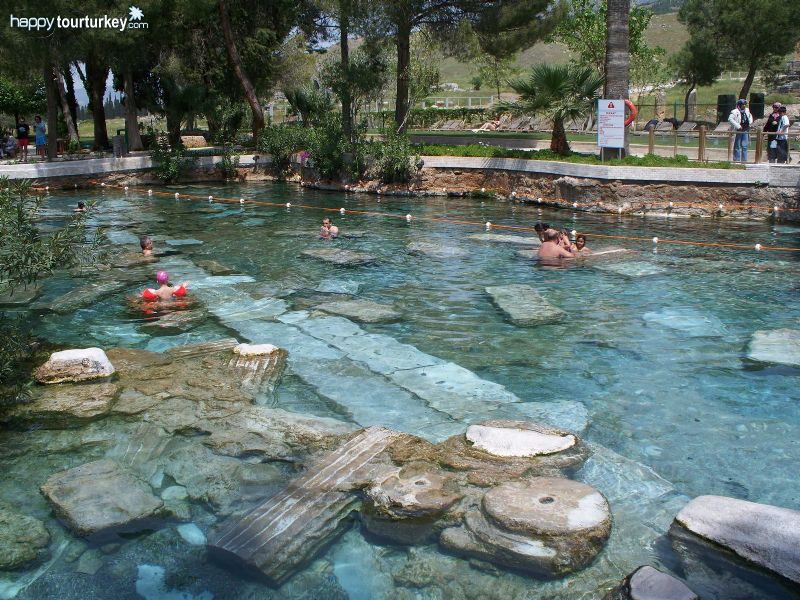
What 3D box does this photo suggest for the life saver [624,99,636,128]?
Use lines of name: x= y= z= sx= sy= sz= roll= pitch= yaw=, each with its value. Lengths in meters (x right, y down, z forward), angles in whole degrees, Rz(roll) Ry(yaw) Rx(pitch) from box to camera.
life saver: x=8.291 y=-6.785 z=19.818 sx=0.300 sy=0.970 sz=1.155 roll=5 pitch=14 yaw=27

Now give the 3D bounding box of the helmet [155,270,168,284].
helmet: x=-5.231 y=-0.504 z=12.087 sx=0.301 sy=0.310 sz=0.295 roll=-5 pitch=58 yaw=-14

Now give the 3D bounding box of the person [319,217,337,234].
person: x=-2.278 y=-2.384 z=17.734 sx=0.581 sy=0.526 sz=1.142 roll=-3 pitch=12 yaw=-6

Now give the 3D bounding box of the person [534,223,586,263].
person: x=4.213 y=-1.470 z=14.575 sx=1.314 sy=0.837 sz=1.656 roll=-15 pitch=21 yaw=14
